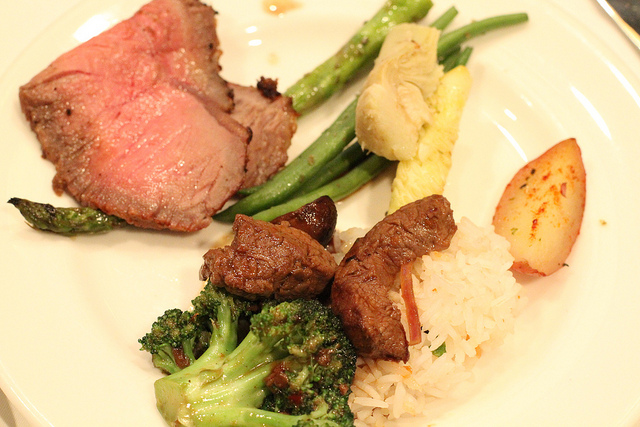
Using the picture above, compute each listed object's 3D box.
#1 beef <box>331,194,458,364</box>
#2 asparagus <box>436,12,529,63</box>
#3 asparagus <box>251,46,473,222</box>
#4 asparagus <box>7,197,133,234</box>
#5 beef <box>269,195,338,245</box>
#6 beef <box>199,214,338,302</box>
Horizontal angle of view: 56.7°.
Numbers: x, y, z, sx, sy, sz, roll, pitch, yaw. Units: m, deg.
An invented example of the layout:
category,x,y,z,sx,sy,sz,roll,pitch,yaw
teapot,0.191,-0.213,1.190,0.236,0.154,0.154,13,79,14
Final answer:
category,x,y,z,sx,sy,sz,roll,pitch,yaw
beef,0.402,0.362,3.525,0.546,0.864,0.680,20,28,18
asparagus,1.094,-1.182,3.941,0.596,0.114,0.108,-28,-6,5
asparagus,0.309,-0.476,3.846,0.168,1.578,0.169,48,-3,10
asparagus,-1.569,0.023,3.694,0.664,0.181,0.079,3,27,-17
beef,-0.024,0.069,3.829,0.368,0.300,0.470,-5,16,21
beef,-0.299,0.261,3.388,0.590,0.211,0.537,17,50,-7
